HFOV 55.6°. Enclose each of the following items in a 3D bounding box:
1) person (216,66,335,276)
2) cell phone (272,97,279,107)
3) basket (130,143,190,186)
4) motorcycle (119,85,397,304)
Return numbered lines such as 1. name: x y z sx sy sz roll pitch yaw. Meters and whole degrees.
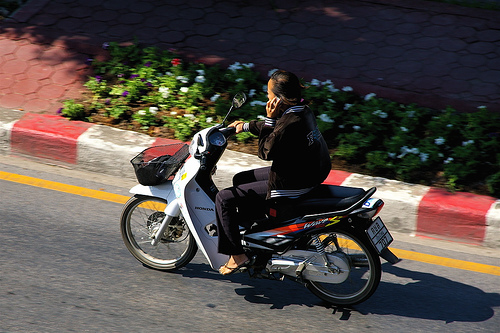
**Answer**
1. person: 0.217 0.120 4.707 1.077 2.132 0.536 -2 30 -15
2. cell phone: 0.246 -0.609 4.469 0.019 0.073 0.045 45 4 -34
3. basket: -0.952 -0.036 5.090 0.588 0.460 0.651 2 21 -4
4. motorcycle: 0.202 0.476 5.217 3.291 1.334 1.143 6 10 32
